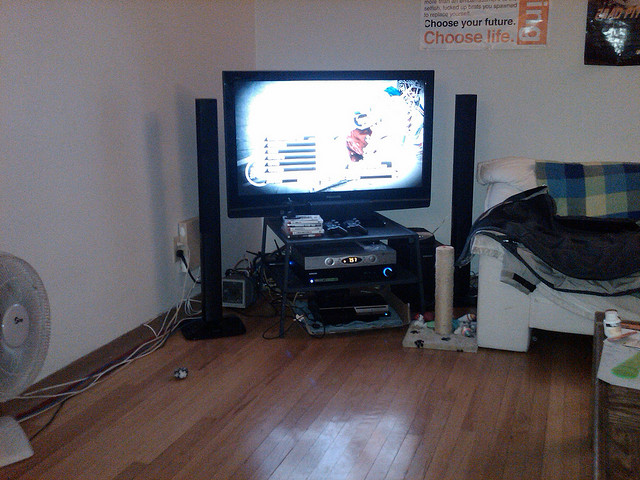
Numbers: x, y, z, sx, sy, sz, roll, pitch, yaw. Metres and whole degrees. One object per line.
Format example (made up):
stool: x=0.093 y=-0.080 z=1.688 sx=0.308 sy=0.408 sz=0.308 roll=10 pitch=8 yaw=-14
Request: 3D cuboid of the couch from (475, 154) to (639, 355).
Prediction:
couch: x=1.329 y=0.004 z=3.011 sx=1.074 sy=1.140 sz=0.516 roll=1 pitch=-17 yaw=19

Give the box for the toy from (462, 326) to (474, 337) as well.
toy: x=0.860 y=0.537 z=3.178 sx=0.033 sy=0.041 sz=0.056 roll=-2 pitch=4 yaw=3

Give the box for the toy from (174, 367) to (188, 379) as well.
toy: x=-0.725 y=0.687 z=2.838 sx=0.070 sy=0.040 sz=0.087 roll=2 pitch=18 yaw=26

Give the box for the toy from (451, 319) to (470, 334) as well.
toy: x=0.841 y=0.520 z=3.266 sx=0.050 sy=0.067 sz=0.162 roll=0 pitch=2 yaw=18

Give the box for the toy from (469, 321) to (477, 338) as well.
toy: x=0.921 y=0.526 z=3.233 sx=0.018 sy=0.071 sz=0.075 roll=-11 pitch=-10 yaw=32
